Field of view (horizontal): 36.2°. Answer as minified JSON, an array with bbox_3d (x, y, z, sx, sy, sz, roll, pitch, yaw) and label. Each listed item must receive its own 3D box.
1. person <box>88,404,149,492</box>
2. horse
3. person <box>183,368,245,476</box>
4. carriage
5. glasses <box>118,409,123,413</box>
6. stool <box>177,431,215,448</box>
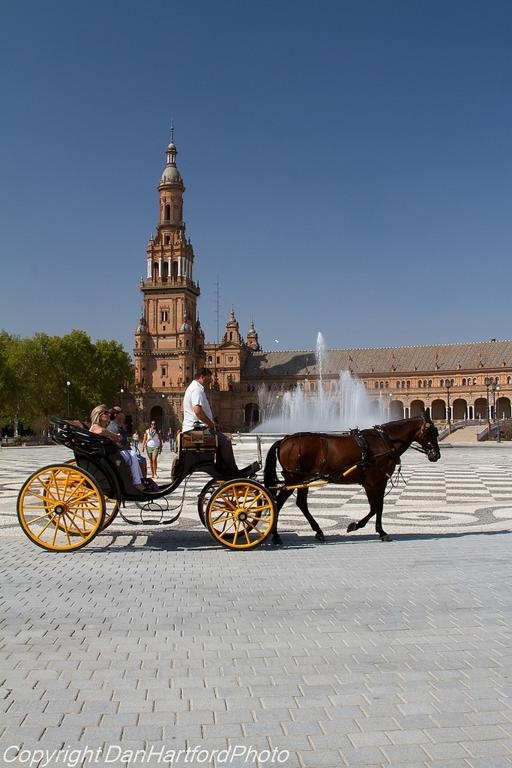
[{"bbox_3d":[-1.633,0.727,8.987,0.585,1.060,0.375,-7,24,-26],"label":"person"},{"bbox_3d":[1.081,1.126,9.131,2.065,1.446,0.642,-1,-10,3],"label":"horse"},{"bbox_3d":[-0.543,0.392,8.722,0.578,1.190,0.717,-2,-3,-4],"label":"person"},{"bbox_3d":[-0.234,1.150,8.966,4.688,1.483,1.401,-2,-5,3],"label":"carriage"},{"bbox_3d":[-1.994,0.392,11.460,0.056,0.060,0.064,-4,-14,5],"label":"glasses"},{"bbox_3d":[-0.635,0.602,8.360,0.397,0.207,0.088,-2,-3,-9],"label":"stool"}]
